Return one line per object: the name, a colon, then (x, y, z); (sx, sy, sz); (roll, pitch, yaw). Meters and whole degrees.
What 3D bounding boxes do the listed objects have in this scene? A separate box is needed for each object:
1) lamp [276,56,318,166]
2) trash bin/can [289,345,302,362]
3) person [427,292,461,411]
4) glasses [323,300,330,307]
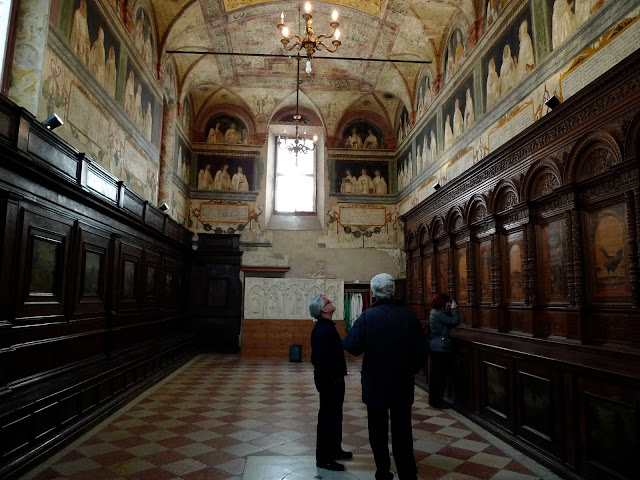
lamp: (-0.678, -4.089, 13.778); (1.098, 3.516, 1.117); (0, 3, -15)
trash bin/can: (-0.635, 3.493, 13.499); (0.543, 0.587, 0.417); (0, -14, -2)
person: (2.279, 2.135, 8.286); (0.516, 2.142, 0.395); (-1, -5, 12)
glasses: (0.085, 0.838, 5.675); (0.084, 0.091, 0.024); (5, -37, -14)
